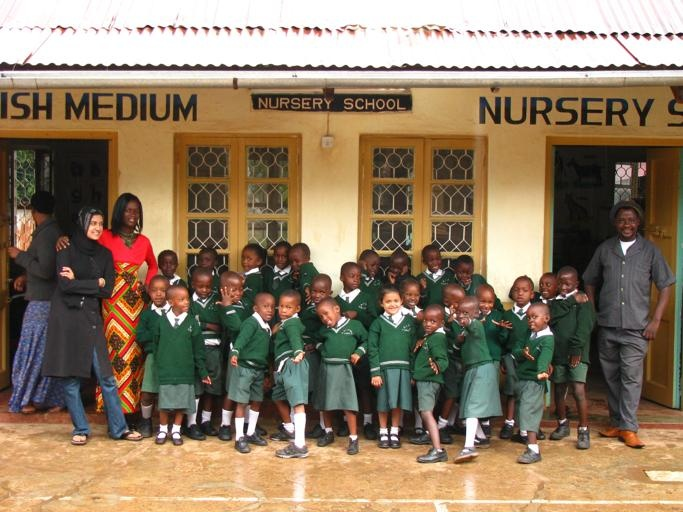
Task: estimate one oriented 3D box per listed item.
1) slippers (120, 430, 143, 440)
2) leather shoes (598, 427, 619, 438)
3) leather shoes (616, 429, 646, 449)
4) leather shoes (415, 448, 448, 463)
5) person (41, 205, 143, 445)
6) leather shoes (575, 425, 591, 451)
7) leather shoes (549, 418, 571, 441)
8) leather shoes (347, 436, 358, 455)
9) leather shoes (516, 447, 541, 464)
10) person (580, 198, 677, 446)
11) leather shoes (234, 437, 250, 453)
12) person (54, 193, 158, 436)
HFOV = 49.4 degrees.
[{"bbox_3d":[-1.976,1.702,7.067,0.226,0.051,0.086,1,9,7],"label":"slippers"},{"bbox_3d":[2.657,1.758,7.398,0.225,0.084,0.068,4,-6,-17],"label":"leather shoes"},{"bbox_3d":[2.799,1.764,7.193,0.107,0.115,0.289,-4,-4,-8],"label":"leather shoes"},{"bbox_3d":[0.832,1.804,6.726,0.310,0.113,0.109,0,-2,-12],"label":"leather shoes"},{"bbox_3d":[-2.366,0.617,7.141,0.743,2.139,0.764,1,1,5],"label":"person"},{"bbox_3d":[2.317,1.725,7.120,0.112,0.206,0.243,-1,-1,16],"label":"leather shoes"},{"bbox_3d":[2.149,1.720,7.319,0.320,0.190,0.118,4,-6,-42],"label":"leather shoes"},{"bbox_3d":[0.116,1.750,6.886,0.108,0.149,0.132,0,-1,-2],"label":"leather shoes"},{"bbox_3d":[1.696,1.810,6.726,0.096,0.101,0.268,-5,-7,44],"label":"leather shoes"},{"bbox_3d":[2.829,0.595,7.471,0.982,2.226,0.904,6,10,10],"label":"person"},{"bbox_3d":[-0.899,1.743,6.870,0.141,0.138,0.131,0,-1,-7],"label":"leather shoes"},{"bbox_3d":[-2.197,0.503,7.523,1.238,2.268,0.587,-1,-3,37],"label":"person"}]
